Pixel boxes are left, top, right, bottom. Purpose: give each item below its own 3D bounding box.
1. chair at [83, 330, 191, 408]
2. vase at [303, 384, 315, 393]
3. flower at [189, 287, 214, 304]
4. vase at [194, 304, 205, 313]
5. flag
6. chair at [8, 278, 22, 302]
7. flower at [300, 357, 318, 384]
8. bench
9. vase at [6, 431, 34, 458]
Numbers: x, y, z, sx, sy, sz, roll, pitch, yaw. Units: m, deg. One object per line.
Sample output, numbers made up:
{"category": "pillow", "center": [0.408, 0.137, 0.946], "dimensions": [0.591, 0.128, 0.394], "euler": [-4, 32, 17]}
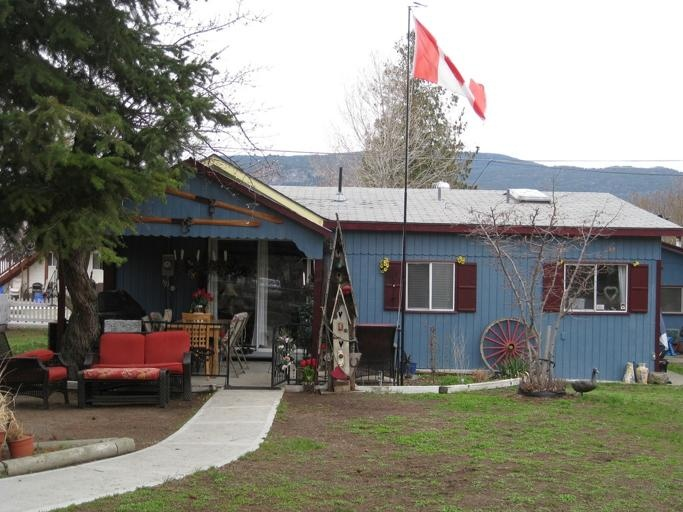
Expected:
{"category": "chair", "center": [-3.675, 1.956, 14.674], "dimensions": [1.355, 1.018, 1.356], "euler": [-1, -4, 2]}
{"category": "vase", "center": [-0.644, 2.526, 15.647], "dimensions": [0.161, 0.140, 0.148], "euler": [0, -7, 2]}
{"category": "flower", "center": [-3.006, 0.856, 17.326], "dimensions": [0.353, 0.418, 0.381], "euler": [1, 6, -4]}
{"category": "vase", "center": [-3.040, 1.101, 17.248], "dimensions": [0.217, 0.178, 0.171], "euler": [-4, -9, 44]}
{"category": "flag", "center": [2.190, -3.926, 16.879], "dimensions": [2.003, 1.563, 0.449], "euler": [8, -11, -44]}
{"category": "chair", "center": [-17.364, 1.761, 43.168], "dimensions": [0.792, 1.622, 1.288], "euler": [1, -3, -17]}
{"category": "flower", "center": [-0.643, 2.210, 15.757], "dimensions": [0.297, 0.484, 0.159], "euler": [-1, -8, 4]}
{"category": "bench", "center": [-3.875, 2.330, 14.526], "dimensions": [1.549, 0.672, 1.333], "euler": [1, -9, -9]}
{"category": "vase", "center": [-4.311, 2.526, 10.976], "dimensions": [0.260, 0.226, 0.285], "euler": [-4, -10, -6]}
